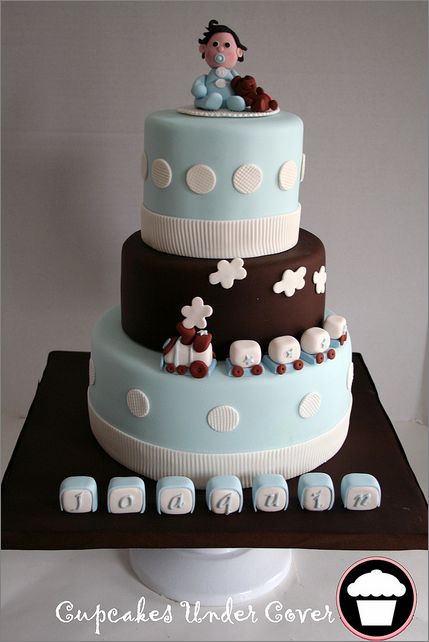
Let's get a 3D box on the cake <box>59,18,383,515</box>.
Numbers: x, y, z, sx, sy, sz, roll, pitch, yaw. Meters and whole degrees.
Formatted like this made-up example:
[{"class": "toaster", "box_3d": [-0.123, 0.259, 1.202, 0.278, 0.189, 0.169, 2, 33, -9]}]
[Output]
[{"class": "cake", "box_3d": [0.047, -0.155, 1.837, 0.957, 1.340, 0.734, 3, 25, 0]}]
